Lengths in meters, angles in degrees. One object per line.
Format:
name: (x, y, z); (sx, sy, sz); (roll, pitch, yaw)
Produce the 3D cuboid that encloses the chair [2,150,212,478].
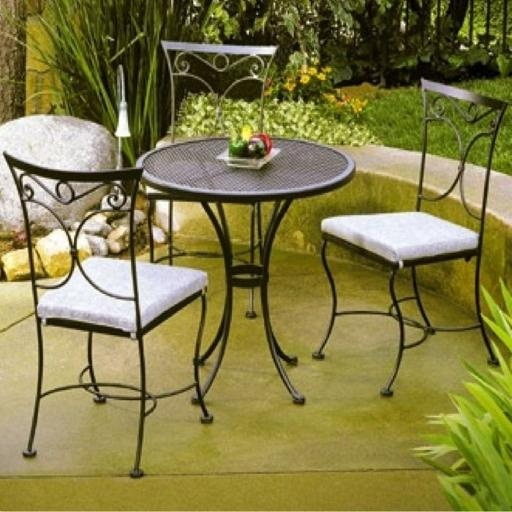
chair: (-0.671, 0.262, 2.841); (0.677, 1.598, 0.828); (10, 24, 20)
